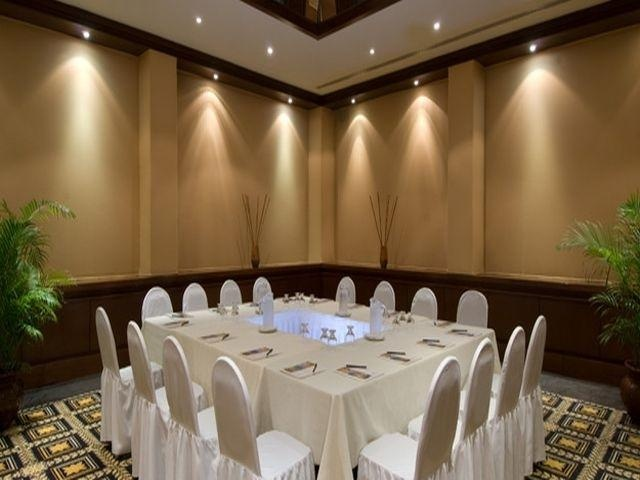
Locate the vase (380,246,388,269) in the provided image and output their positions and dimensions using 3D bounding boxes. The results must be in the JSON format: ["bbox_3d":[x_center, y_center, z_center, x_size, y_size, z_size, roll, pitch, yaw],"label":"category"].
[{"bbox_3d":[1.012,0.285,7.291,0.131,0.354,0.599,2,13,9],"label":"vase"}]

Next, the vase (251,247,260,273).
[{"bbox_3d":[-1.050,0.263,7.189,0.111,0.328,0.264,-3,13,-16],"label":"vase"}]

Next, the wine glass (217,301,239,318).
[{"bbox_3d":[-1.010,0.776,4.970,0.157,0.158,0.184,1,-2,5],"label":"wine glass"}]
